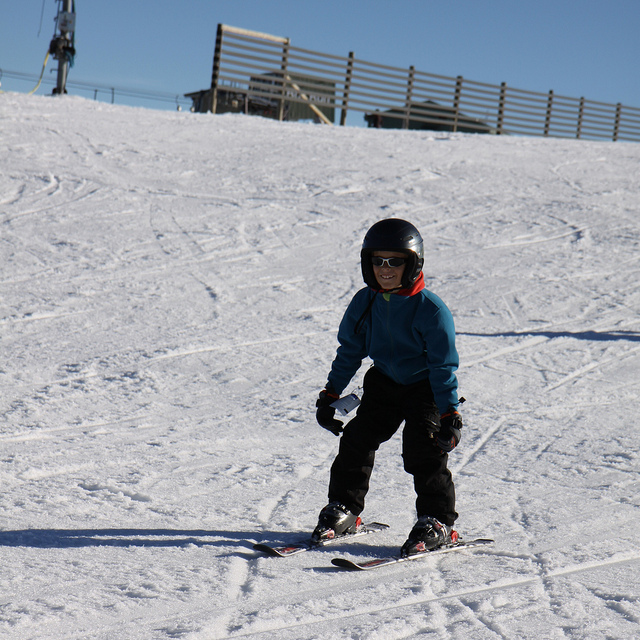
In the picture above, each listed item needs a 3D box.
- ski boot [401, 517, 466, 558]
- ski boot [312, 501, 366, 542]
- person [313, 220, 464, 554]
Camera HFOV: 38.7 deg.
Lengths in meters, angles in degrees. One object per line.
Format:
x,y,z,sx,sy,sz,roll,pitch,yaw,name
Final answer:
0.532,1.035,4.406,0.141,0.137,0.412,-8,-7,42,ski boot
0.072,0.993,4.425,0.113,0.108,0.348,2,5,41,ski boot
0.316,0.302,4.422,0.826,1.563,0.413,14,9,35,person
